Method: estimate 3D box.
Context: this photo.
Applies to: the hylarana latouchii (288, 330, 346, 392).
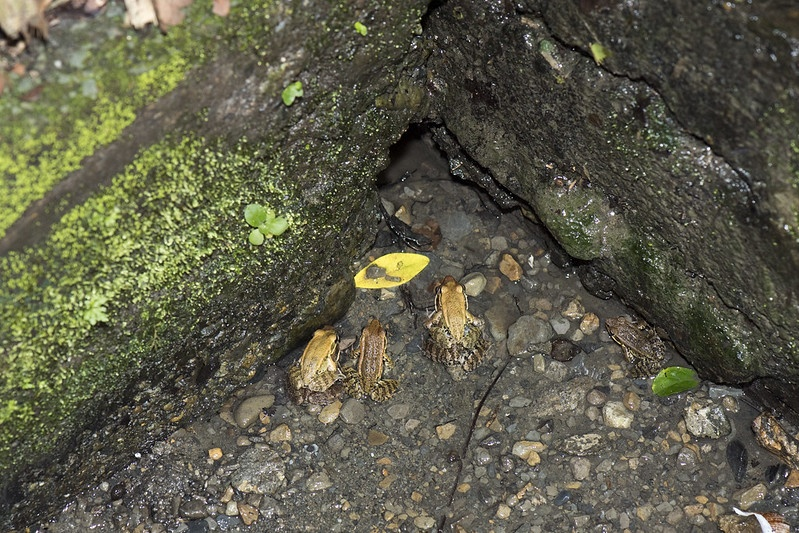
[{"bbox_3d":[-1.039,1.244,9.784,0.262,0.590,0.793,67,-144,-70],"label":"hylarana latouchii"}]
